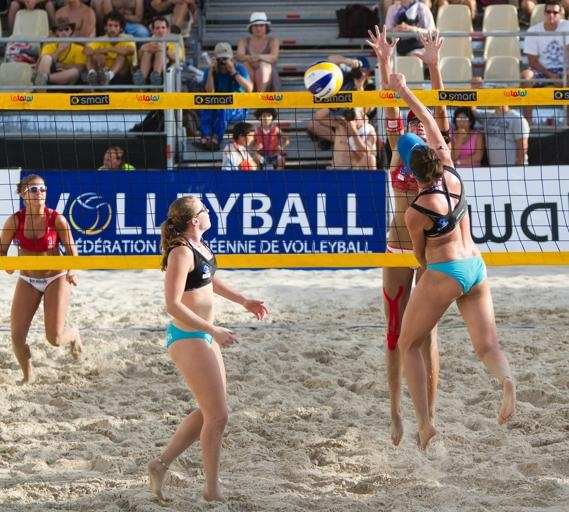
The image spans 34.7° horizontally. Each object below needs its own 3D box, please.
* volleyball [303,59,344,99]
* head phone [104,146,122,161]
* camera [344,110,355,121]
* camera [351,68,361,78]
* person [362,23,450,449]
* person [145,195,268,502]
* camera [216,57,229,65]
[{"bbox_3d":[0.312,-1.281,6.730,0.283,0.278,0.267,-23,4,-4],"label":"volleyball"},{"bbox_3d":[-1.679,-1.004,8.892,0.167,0.116,0.232,-6,16,-17],"label":"head phone"},{"bbox_3d":[0.631,-1.319,8.594,0.103,0.099,0.094,5,2,4],"label":"camera"},{"bbox_3d":[0.776,-1.921,9.601,0.104,0.104,0.121,-1,15,-2],"label":"camera"},{"bbox_3d":[0.822,0.053,6.250,0.339,2.110,0.415,4,-11,20],"label":"person"},{"bbox_3d":[-0.527,0.560,5.521,0.664,1.769,0.612,0,15,2],"label":"person"},{"bbox_3d":[-0.666,-2.078,9.710,0.046,0.077,0.142,-14,20,-41],"label":"camera"}]
